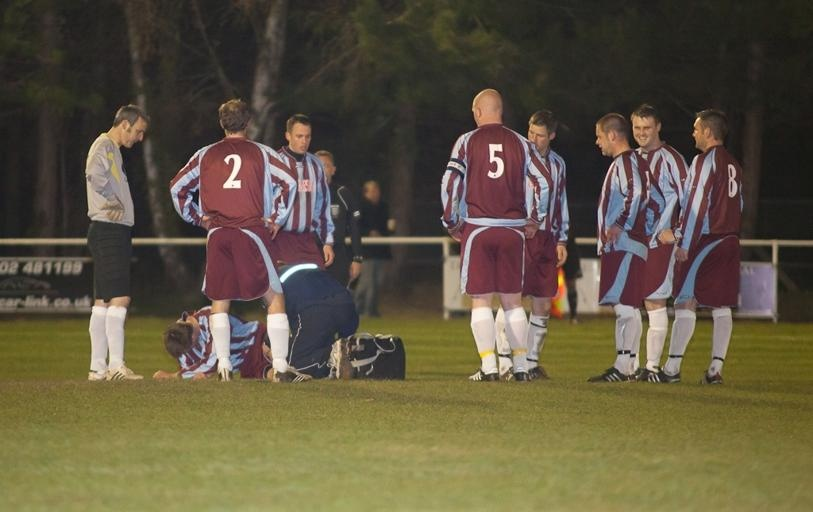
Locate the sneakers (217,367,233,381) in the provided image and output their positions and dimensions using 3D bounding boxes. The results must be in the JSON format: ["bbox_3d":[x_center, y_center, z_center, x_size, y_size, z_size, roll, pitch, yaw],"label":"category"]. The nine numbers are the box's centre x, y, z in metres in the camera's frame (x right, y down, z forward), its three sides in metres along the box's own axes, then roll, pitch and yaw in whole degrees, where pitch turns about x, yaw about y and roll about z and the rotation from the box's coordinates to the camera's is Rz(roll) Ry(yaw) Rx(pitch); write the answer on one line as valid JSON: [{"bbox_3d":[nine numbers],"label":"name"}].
[{"bbox_3d":[-2.895,1.878,27.828,0.286,0.308,0.173,1,4,3],"label":"sneakers"}]

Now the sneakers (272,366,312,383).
[{"bbox_3d":[-1.871,1.893,27.857,0.650,0.262,0.232,-2,-3,-8],"label":"sneakers"}]

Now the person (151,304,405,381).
[{"bbox_3d":[-2.342,1.470,28.351,3.297,0.885,1.577,3,4,16],"label":"person"}]

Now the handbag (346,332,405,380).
[{"bbox_3d":[-0.506,1.615,28.071,0.913,0.721,0.258,1,-1,-6],"label":"handbag"}]
